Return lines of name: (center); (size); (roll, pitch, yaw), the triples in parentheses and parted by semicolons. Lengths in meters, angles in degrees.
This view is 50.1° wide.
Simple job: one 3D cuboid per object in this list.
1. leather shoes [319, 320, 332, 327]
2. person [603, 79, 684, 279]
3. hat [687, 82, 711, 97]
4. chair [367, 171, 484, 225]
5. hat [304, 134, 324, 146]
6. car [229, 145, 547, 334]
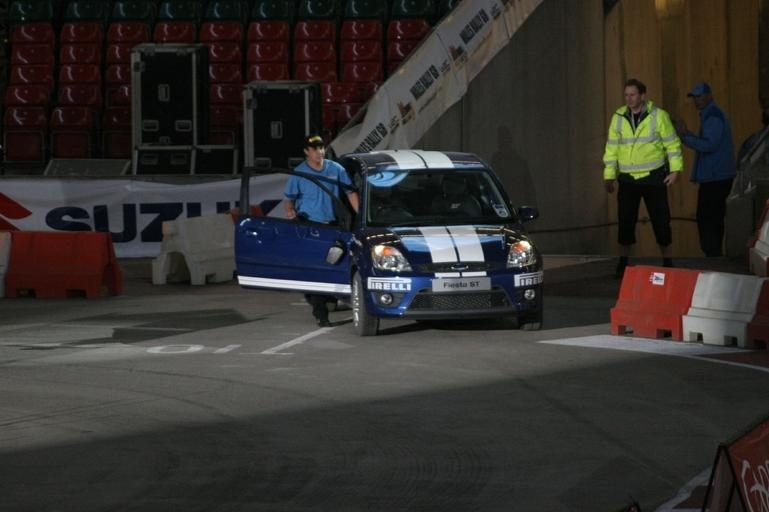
leather shoes: (-0.756, 0.875, 10.699); (0.117, 0.042, 0.086); (0, 1, 42)
person: (4.160, -1.223, 13.115); (1.167, 3.178, 0.846); (1, 6, 18)
hat: (5.345, -2.779, 13.781); (0.316, 0.235, 0.198); (-1, 6, -3)
chair: (0.581, -0.761, 10.669); (0.523, 0.807, 1.243); (7, 8, 44)
hat: (-0.990, -1.590, 11.460); (0.221, 0.134, 0.311); (-5, 3, -31)
car: (0.084, -0.205, 10.658); (2.628, 1.422, 2.905); (-1, 2, -20)
